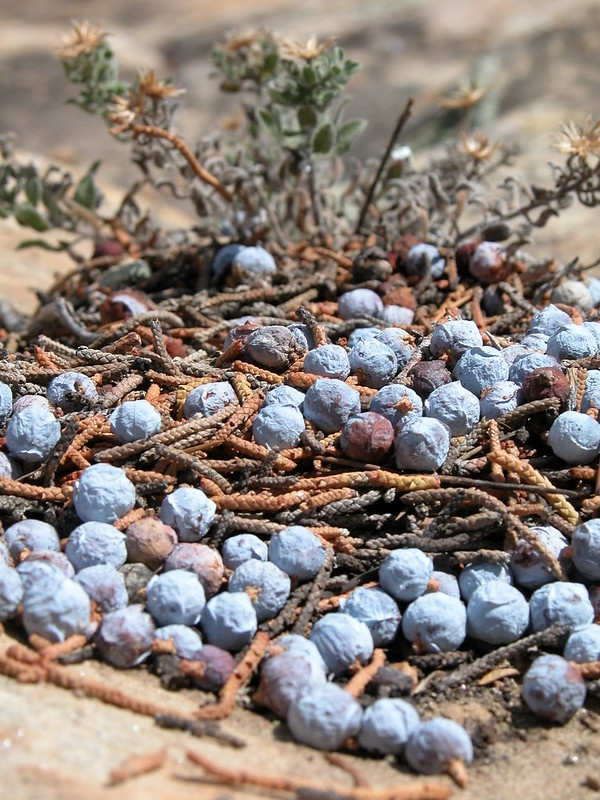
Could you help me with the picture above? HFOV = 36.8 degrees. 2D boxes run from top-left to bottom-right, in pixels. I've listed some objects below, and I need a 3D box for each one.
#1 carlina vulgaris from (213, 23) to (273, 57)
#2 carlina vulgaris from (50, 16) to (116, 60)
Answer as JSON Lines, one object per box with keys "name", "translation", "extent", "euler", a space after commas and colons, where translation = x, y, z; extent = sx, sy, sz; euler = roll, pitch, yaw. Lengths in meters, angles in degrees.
{"name": "carlina vulgaris", "translation": [-0.236, -1.506, 3.803], "extent": [0.251, 0.114, 0.168], "euler": [0, 22, -4]}
{"name": "carlina vulgaris", "translation": [-0.836, -1.396, 3.520], "extent": [0.180, 0.138, 0.222], "euler": [9, 23, 17]}
